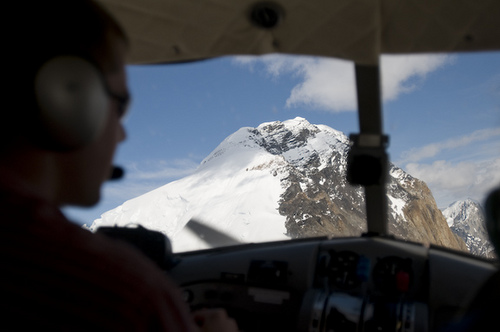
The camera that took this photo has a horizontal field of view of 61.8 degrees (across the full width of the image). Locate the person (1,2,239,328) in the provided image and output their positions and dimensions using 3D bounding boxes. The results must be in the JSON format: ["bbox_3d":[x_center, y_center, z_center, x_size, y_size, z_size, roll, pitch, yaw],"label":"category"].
[{"bbox_3d":[-0.408,-0.011,1.120,0.468,0.831,0.196,4,-4,-12],"label":"person"}]
